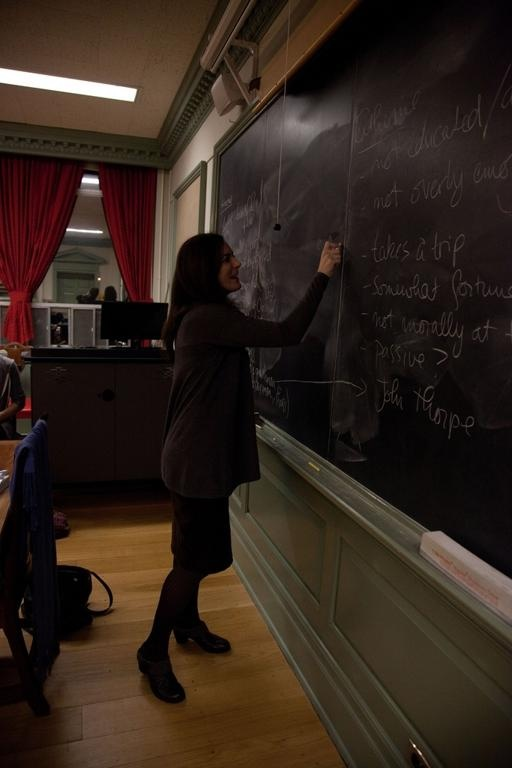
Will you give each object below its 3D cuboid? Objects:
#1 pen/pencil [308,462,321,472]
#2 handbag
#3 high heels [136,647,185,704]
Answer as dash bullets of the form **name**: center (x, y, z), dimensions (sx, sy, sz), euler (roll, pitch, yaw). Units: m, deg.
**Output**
- **pen/pencil**: center (0.194, 0.274, 1.500), dimensions (0.012, 0.011, 0.049), euler (41, -6, -20)
- **handbag**: center (-0.771, 0.810, 1.874), dimensions (0.210, 0.290, 0.325), euler (6, -8, 0)
- **high heels**: center (-0.315, 0.914, 1.506), dimensions (0.076, 0.110, 0.224), euler (13, 13, -40)
